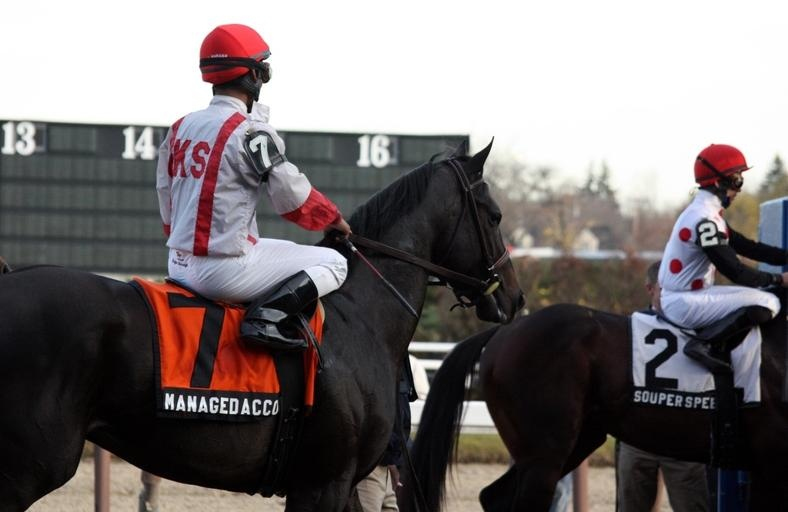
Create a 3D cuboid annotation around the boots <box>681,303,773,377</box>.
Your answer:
[{"bbox_3d":[2.397,0.506,11.285,0.722,0.290,0.583,-29,-16,22],"label":"boots"}]
